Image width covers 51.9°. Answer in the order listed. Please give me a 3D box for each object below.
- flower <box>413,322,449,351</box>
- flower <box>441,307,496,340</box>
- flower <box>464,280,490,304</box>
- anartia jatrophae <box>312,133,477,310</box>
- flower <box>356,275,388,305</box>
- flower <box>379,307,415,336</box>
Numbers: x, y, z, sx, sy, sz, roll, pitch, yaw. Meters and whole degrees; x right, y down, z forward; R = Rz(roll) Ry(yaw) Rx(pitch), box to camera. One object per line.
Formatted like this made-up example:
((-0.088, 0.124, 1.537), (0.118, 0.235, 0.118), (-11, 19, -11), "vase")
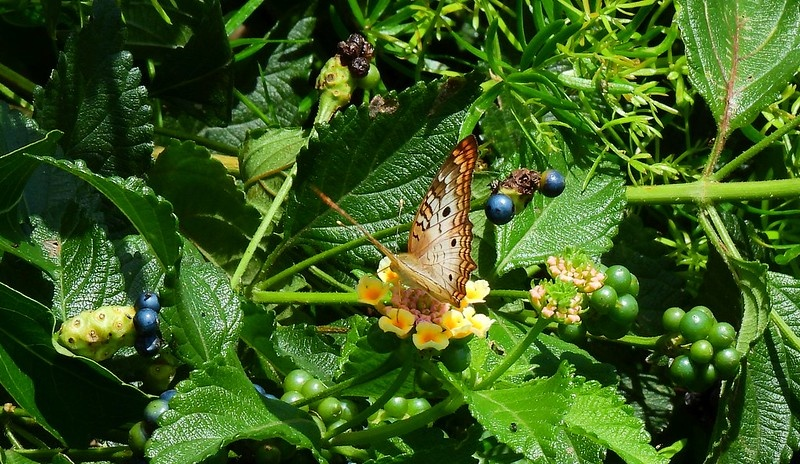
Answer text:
((0.047, 0.163, 1.282), (0.046, 0.022, 0.046), (-24, 64, -25), "flower")
((0.104, 0.142, 1.305), (0.054, 0.024, 0.057), (8, 15, 26), "flower")
((0.126, 0.096, 1.352), (0.038, 0.021, 0.041), (-10, 10, 12), "flower")
((0.024, 0.020, 1.379), (0.225, 0.289, 0.241), (22, 60, -33), "anartia jatrophae")
((-0.047, 0.096, 1.330), (0.041, 0.043, 0.046), (-23, 78, 5), "flower")
((-0.005, 0.142, 1.293), (0.045, 0.024, 0.048), (-25, 56, -38), "flower")
